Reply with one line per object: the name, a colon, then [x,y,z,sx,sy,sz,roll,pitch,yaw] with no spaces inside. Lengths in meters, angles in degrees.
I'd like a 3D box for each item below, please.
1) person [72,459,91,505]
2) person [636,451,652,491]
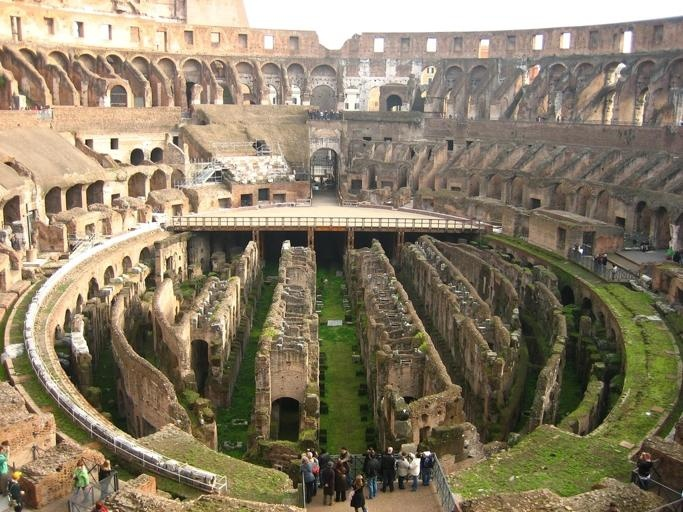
person: [-5.689,4.888,13.742,0.397,0.922,0.684,5,-22,-22]
person: [6.941,4.909,14.439,0.384,0.782,0.523,-11,-22,20]
